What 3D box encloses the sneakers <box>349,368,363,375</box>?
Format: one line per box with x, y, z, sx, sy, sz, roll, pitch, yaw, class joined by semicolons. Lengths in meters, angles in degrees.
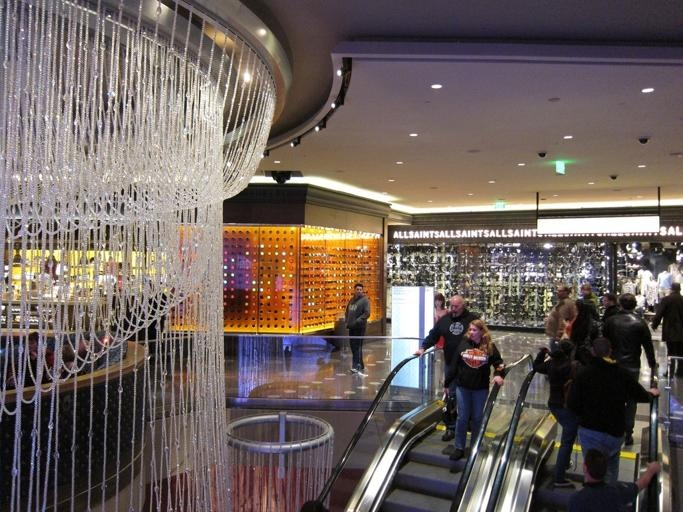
0.247;1.840;9.064;0.229;0.116;0.088;0;0;2;sneakers

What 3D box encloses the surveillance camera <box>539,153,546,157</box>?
3.520;-1.774;9.570;0.075;0.020;0.075;3;-12;-10;surveillance camera

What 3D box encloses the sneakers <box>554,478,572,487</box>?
2.265;2.255;5.575;0.197;0.090;0.073;-1;-1;-23;sneakers

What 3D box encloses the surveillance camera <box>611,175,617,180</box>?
5.820;-1.679;11.645;0.096;0.041;0.102;0;-5;5;surveillance camera

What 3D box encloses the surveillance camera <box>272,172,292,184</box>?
-1.369;-1.784;12.367;0.246;0.130;0.340;5;-6;-26;surveillance camera

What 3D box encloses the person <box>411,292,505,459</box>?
1.384;1.316;6.144;0.588;1.635;1.165;2;1;-10;person

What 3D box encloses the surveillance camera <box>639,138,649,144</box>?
4.739;-1.797;8.547;0.091;0.024;0.090;2;-6;-1;surveillance camera
